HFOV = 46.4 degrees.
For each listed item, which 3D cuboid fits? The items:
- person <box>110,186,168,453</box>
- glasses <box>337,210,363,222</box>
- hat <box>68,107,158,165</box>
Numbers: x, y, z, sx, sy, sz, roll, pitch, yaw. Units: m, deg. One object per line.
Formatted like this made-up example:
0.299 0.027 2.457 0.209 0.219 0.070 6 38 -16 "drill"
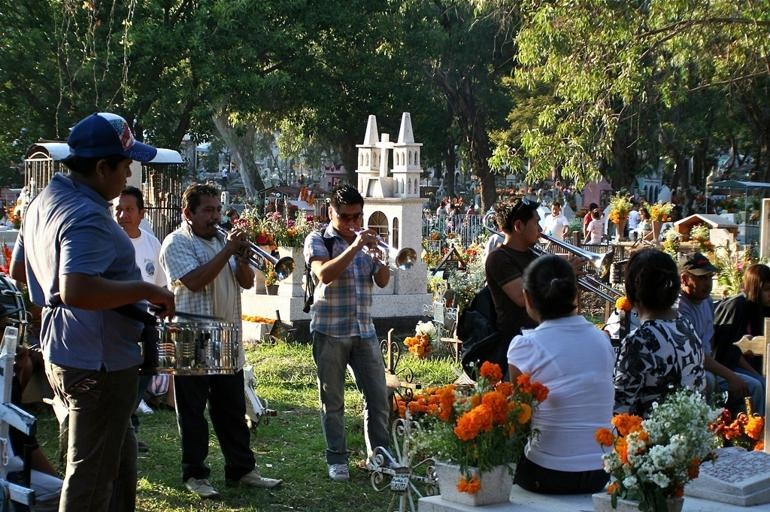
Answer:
-2.695 0.658 9.802 1.099 2.851 0.851 0 0 41 "person"
-0.332 -0.394 9.007 0.287 0.095 0.124 -10 13 -43 "glasses"
-2.167 -0.932 7.133 0.661 0.383 0.283 -5 10 -22 "hat"
